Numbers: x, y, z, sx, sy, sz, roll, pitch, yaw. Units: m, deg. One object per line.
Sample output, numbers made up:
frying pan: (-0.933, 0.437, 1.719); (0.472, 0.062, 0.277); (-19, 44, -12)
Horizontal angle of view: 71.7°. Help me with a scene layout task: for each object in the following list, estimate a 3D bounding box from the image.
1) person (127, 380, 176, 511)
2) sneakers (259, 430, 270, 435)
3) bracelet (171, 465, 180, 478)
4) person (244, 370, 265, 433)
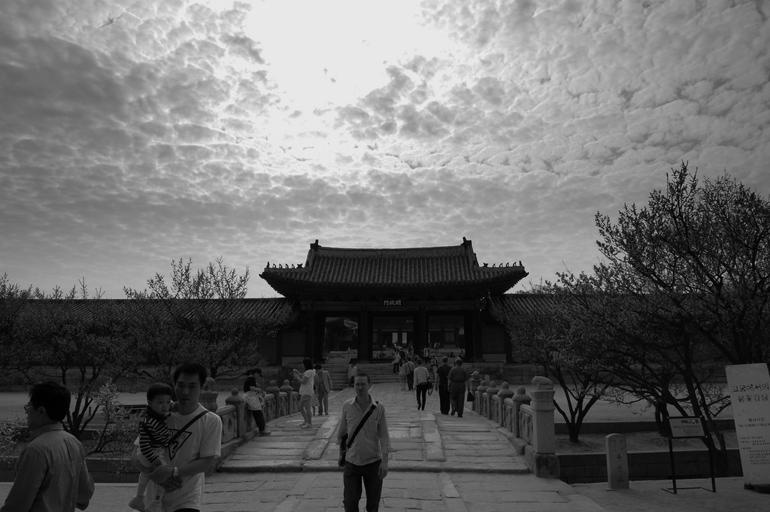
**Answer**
person: (-2.614, 2.139, 5.939); (0.547, 1.385, 0.361); (-12, -17, 36)
sneakers: (-3.000, 4.404, 13.278); (0.293, 0.194, 0.097); (1, -9, -6)
bracelet: (-2.251, 2.332, 5.728); (0.061, 0.098, 0.099); (1, -4, -19)
person: (-3.225, 3.689, 13.288); (0.417, 1.526, 0.803); (-4, -14, 8)
